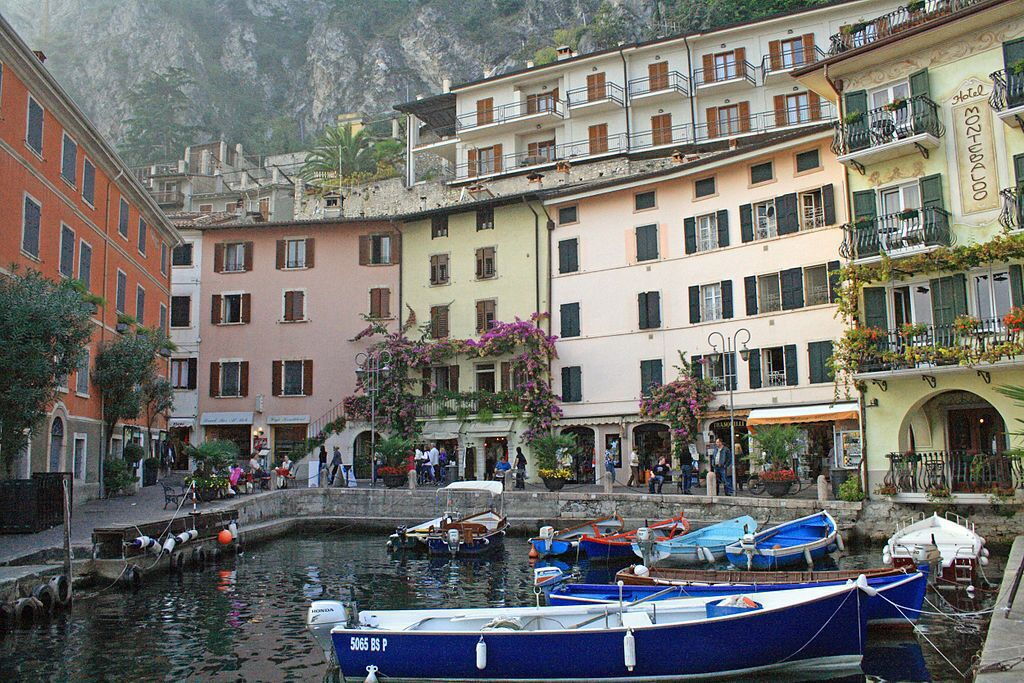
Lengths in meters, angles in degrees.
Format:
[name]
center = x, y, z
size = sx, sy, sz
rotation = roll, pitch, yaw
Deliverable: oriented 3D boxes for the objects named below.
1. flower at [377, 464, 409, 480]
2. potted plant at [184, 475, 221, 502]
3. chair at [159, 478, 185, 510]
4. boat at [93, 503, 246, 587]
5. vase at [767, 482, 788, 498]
[flower]
center = -5.587, 6.122, 56.337
size = 0.863, 0.583, 0.862
rotation = 4, -5, -33
[potted plant]
center = -12.752, 6.101, 50.509
size = 1.124, 0.913, 1.288
rotation = 2, -6, -8
[chair]
center = -14.509, 6.511, 51.752
size = 1.095, 1.432, 0.953
rotation = -3, -3, 27
[boat]
center = -12.391, 7.283, 43.703
size = 1.247, 2.865, 6.116
rotation = -7, -13, 24
[vase]
center = 10.541, 5.877, 48.309
size = 0.665, 0.341, 0.665
rotation = 2, -6, -14
